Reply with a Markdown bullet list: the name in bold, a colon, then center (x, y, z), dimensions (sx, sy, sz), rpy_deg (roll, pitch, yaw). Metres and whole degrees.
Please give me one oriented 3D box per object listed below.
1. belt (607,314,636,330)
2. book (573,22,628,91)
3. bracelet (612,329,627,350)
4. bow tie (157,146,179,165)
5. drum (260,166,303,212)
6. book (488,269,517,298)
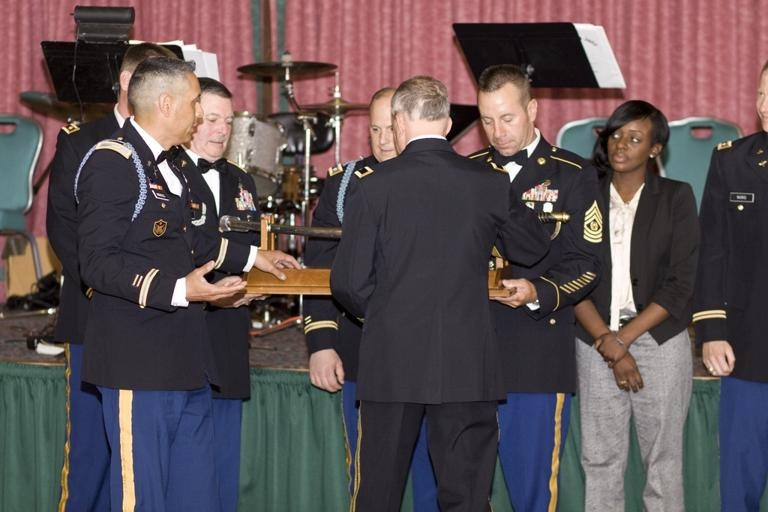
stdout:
- **belt**: center (1.415, 0.400, 6.038), dimensions (0.083, 0.046, 0.120), rpy_deg (-9, 3, 44)
- **book**: center (1.499, -1.379, 6.771), dimensions (0.104, 0.415, 0.429), rpy_deg (-36, 26, -30)
- **bracelet**: center (1.379, 0.502, 5.940), dimensions (0.083, 0.117, 0.040), rpy_deg (2, -20, -24)
- **bow tie**: center (-1.218, -0.570, 5.628), dimensions (0.029, 0.043, 0.127), rpy_deg (34, 22, 16)
- **drum**: center (-0.878, -0.576, 8.701), dimensions (0.365, 0.309, 0.374), rpy_deg (-1, 2, -18)
- **book**: center (0.640, 0.153, 5.606), dimensions (0.146, 0.102, 0.153), rpy_deg (1, 1, 15)
